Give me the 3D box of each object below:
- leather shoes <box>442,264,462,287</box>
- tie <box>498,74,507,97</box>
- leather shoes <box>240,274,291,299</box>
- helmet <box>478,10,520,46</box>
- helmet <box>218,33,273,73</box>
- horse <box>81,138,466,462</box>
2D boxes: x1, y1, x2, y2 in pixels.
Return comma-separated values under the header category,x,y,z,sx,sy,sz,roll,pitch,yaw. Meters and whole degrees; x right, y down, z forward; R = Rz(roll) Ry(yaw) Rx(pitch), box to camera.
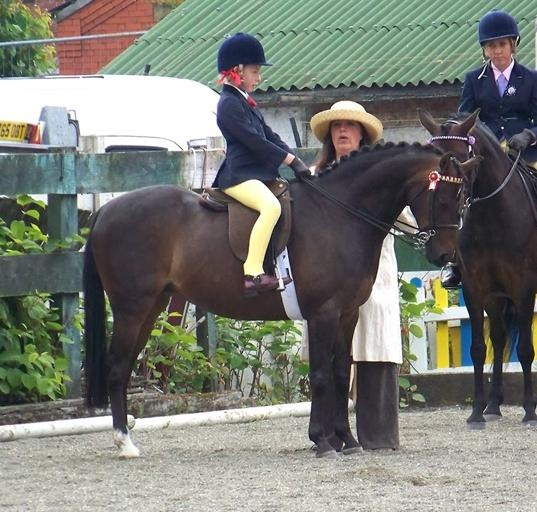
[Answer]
category,x,y,z,sx,sy,sz,roll,pitch,yaw
leather shoes,1.489,0.161,10.526,0.104,0.247,0.332,0,-10,5
tie,1.805,-1.330,10.013,0.043,0.191,0.046,-1,-13,13
leather shoes,0.001,0.205,8.610,0.357,0.173,0.127,-9,-3,2
helmet,1.728,-1.765,9.812,0.298,0.303,0.464,-9,7,15
helmet,-0.161,-1.399,8.859,0.409,0.280,0.299,0,6,12
horse,-0.001,0.311,8.971,2.652,2.343,0.738,0,10,4
